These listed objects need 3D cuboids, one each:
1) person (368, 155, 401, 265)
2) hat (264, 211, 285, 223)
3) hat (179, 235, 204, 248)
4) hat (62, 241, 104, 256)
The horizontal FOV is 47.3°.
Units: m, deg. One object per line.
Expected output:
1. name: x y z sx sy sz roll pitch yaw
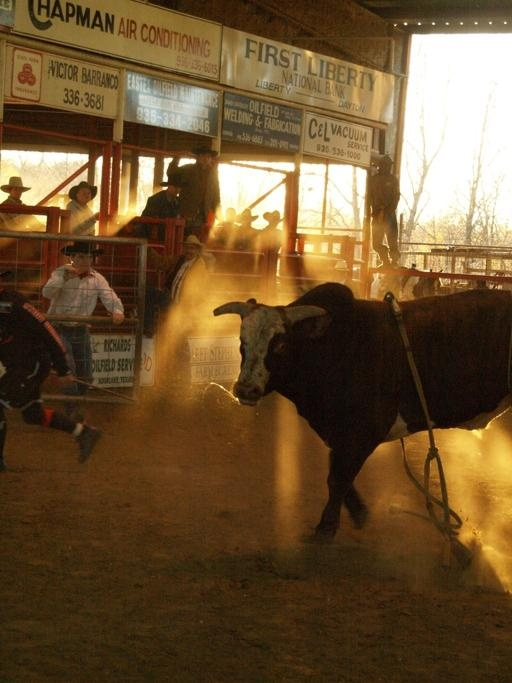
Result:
1. person: 2.934 -3.009 13.540 0.593 2.492 0.717 0 -5 38
2. hat: 0.391 -2.812 13.121 0.337 0.278 0.254 -19 4 -4
3. hat: -1.057 -1.653 9.576 0.271 0.257 0.388 4 -3 -8
4. hat: -2.091 -1.117 7.013 0.512 0.201 0.309 3 -3 -4
